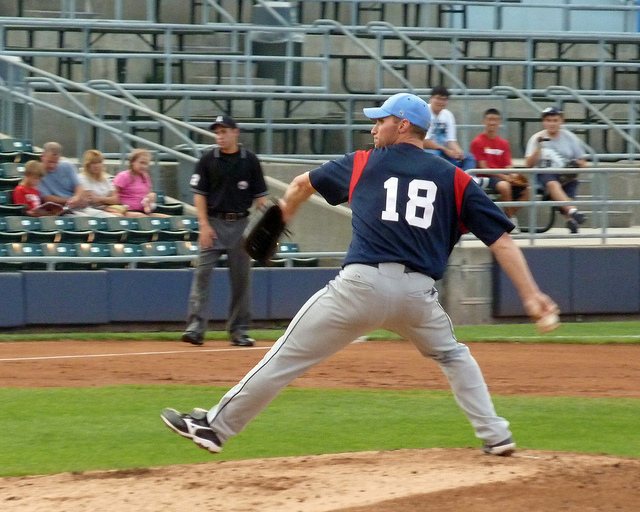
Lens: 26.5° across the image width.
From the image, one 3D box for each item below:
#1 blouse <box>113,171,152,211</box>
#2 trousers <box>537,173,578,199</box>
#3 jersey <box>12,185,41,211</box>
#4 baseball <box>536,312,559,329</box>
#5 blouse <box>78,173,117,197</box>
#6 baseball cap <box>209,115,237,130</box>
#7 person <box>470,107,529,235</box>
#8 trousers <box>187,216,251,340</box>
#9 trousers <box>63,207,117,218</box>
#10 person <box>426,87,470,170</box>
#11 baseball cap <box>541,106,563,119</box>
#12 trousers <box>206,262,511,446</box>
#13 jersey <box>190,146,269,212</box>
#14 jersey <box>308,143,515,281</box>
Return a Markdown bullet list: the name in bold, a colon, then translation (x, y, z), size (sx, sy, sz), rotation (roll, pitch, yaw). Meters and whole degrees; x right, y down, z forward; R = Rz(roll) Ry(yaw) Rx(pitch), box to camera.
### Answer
- **blouse**: translation (-2.306, -0.827, 16.826), size (0.538, 0.416, 0.291), rotation (-3, 11, -37)
- **trousers**: translation (2.967, -0.884, 16.965), size (0.549, 0.341, 0.123), rotation (-5, 15, -23)
- **jersey**: translation (-3.488, -0.682, 16.064), size (0.383, 0.289, 0.201), rotation (-1, 5, -40)
- **baseball**: translation (1.804, 0.532, 10.826), size (0.158, 0.116, 0.134), rotation (-3, 3, 25)
- **blouse**: translation (-2.753, -0.950, 16.602), size (0.402, 0.159, 0.367), rotation (-9, 36, -40)
- **baseball cap**: translation (-0.988, -1.428, 14.146), size (0.216, 0.119, 0.286), rotation (-7, -3, 41)
- **person**: translation (2.281, -1.078, 17.021), size (0.634, 1.478, 0.926), rotation (-7, 10, -21)
- **trousers**: translation (-1.004, 0.251, 14.283), size (0.847, 1.379, 0.451), rotation (1, -8, 21)
- **trousers**: translation (-2.774, -0.525, 16.292), size (0.603, 0.132, 0.240), rotation (-3, 12, -15)
- **person**: translation (1.413, -1.556, 16.577), size (0.577, 1.029, 0.519), rotation (19, 20, 35)
- **baseball cap**: translation (2.911, -1.827, 17.097), size (0.369, 0.148, 0.470), rotation (1, 4, 14)
- **trousers**: translation (0.228, 0.788, 10.787), size (3.194, 1.478, 0.968), rotation (4, 5, -36)
- **jersey**: translation (-0.957, -0.788, 14.211), size (0.795, 0.681, 0.226), rotation (-1, 14, -4)
- **jersey**: translation (0.704, -0.355, 10.862), size (1.558, 1.086, 0.451), rotation (0, 14, -2)
